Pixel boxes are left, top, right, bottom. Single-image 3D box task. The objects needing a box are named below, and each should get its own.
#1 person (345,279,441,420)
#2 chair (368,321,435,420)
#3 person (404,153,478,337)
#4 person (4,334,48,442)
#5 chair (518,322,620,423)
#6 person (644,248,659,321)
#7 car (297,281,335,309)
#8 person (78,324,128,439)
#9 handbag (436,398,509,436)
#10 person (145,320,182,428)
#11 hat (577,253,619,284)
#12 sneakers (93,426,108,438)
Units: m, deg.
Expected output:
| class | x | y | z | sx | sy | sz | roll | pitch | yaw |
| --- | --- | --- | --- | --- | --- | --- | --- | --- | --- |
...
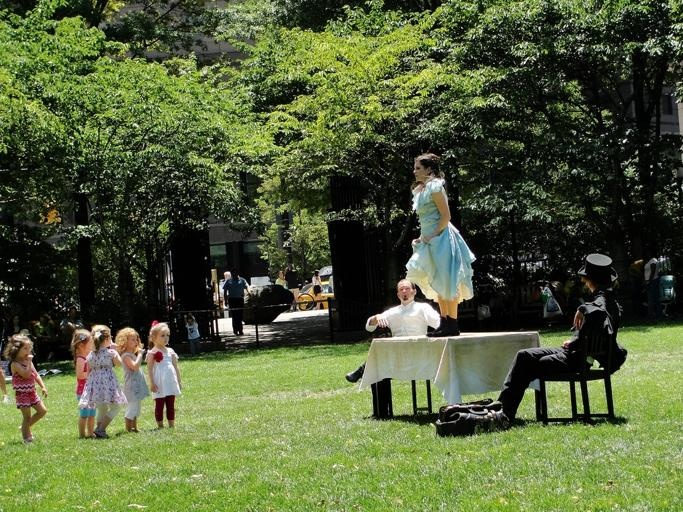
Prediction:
| class | x | y | z | sx | sy | sz | roll | pitch | yaw |
| --- | --- | --- | --- | --- | --- | --- | --- | --- | --- |
| person | 0.737 | 1.363 | 15.666 | 1.327 | 2.210 | 1.168 | 13 | -18 | -35 |
| chair | 0.912 | 1.820 | 16.047 | 1.103 | 1.125 | 0.941 | 1 | 0 | 11 |
| person | 1.396 | -0.166 | 15.338 | 0.904 | 2.227 | 0.355 | -4 | -2 | 3 |
| person | -4.994 | 2.083 | 16.579 | 0.578 | 1.660 | 0.827 | -3 | -2 | -18 |
| chair | 3.306 | 1.612 | 14.806 | 1.063 | 1.515 | 1.056 | -2 | -6 | -3 |
| person | 7.884 | 0.834 | 26.524 | 0.354 | 1.503 | 0.977 | -4 | -2 | 14 |
| car | -1.132 | 1.618 | 44.152 | 1.733 | 1.019 | 1.151 | -2 | -5 | -4 |
| person | -3.797 | 1.969 | 16.466 | 0.528 | 1.167 | 0.628 | -5 | -2 | 32 |
| handbag | 1.825 | 2.269 | 14.519 | 0.773 | 0.295 | 0.486 | -5 | 3 | -1 |
| person | -2.885 | 1.909 | 16.868 | 0.498 | 1.182 | 1.025 | -3 | -2 | -11 |
| hat | 3.613 | 0.180 | 14.763 | 0.398 | 0.224 | 0.465 | -11 | 30 | -32 |
| sneakers | -3.736 | 2.754 | 16.209 | 0.102 | 0.136 | 0.287 | 15 | -3 | 4 |
